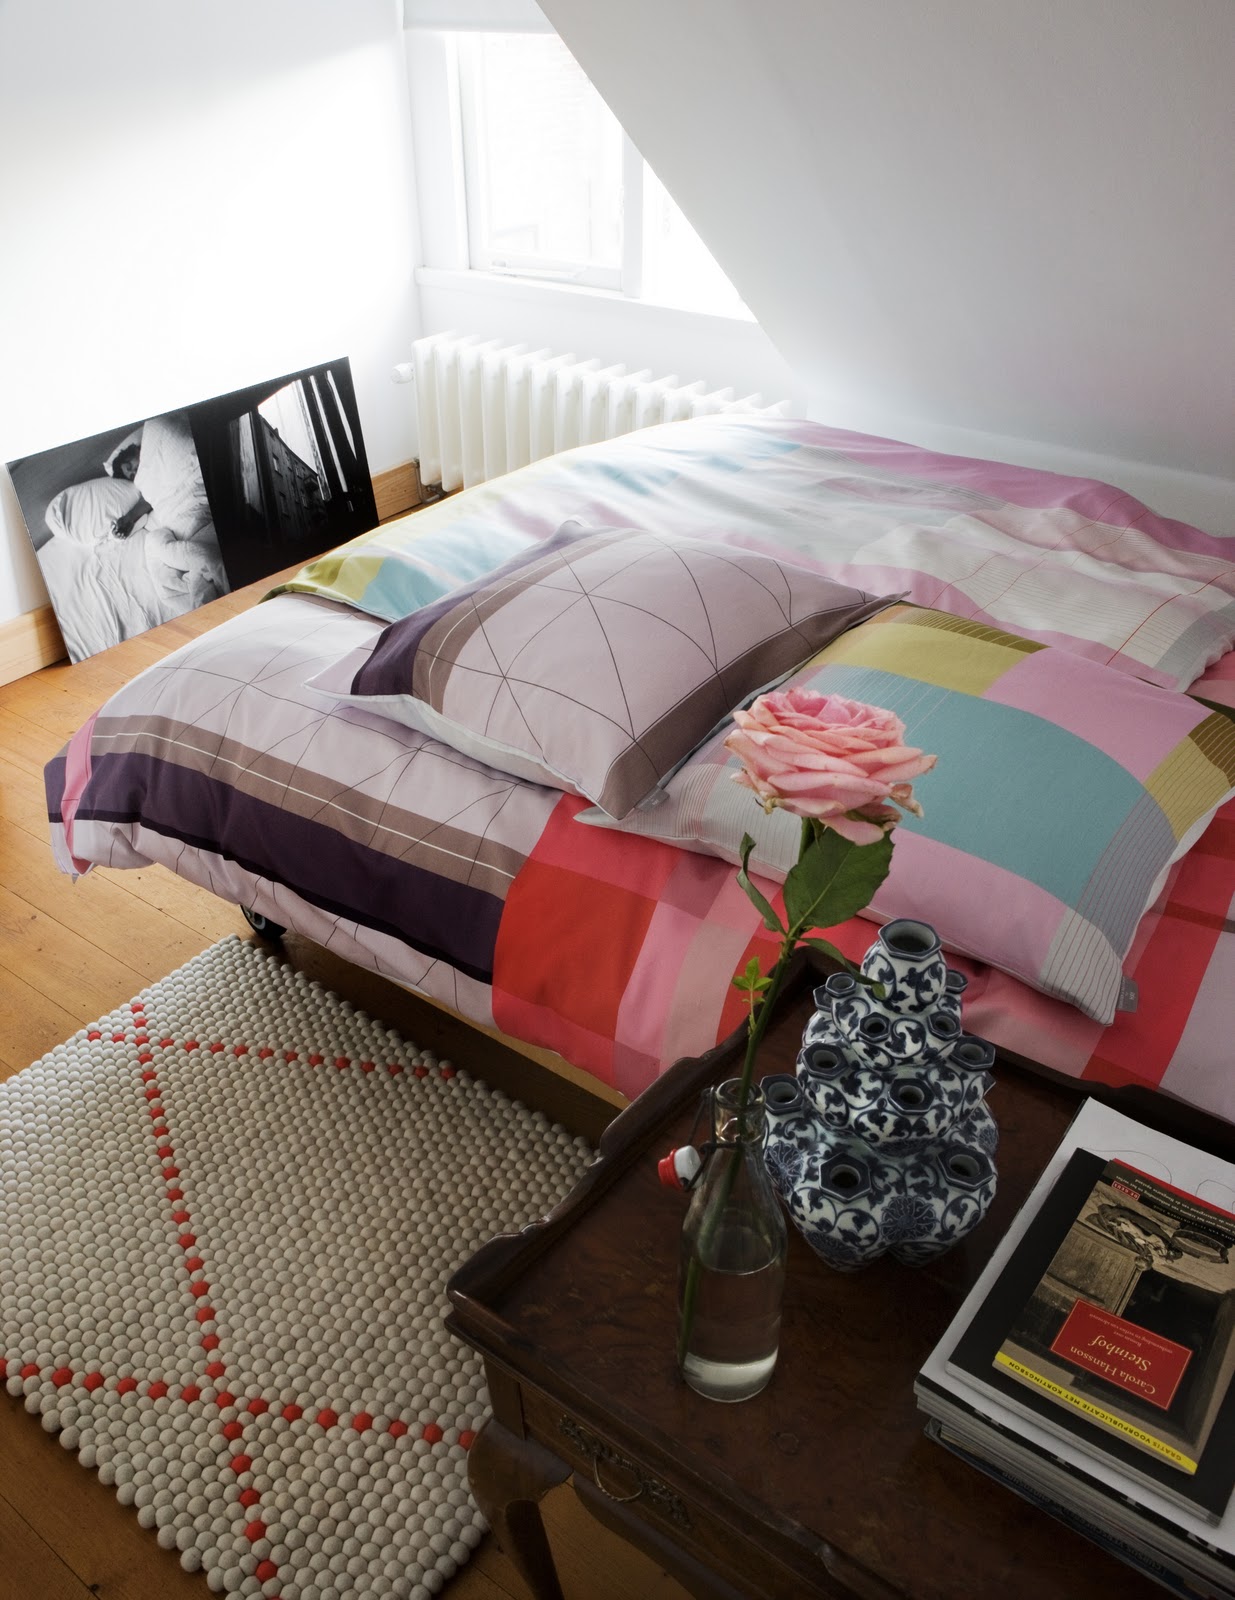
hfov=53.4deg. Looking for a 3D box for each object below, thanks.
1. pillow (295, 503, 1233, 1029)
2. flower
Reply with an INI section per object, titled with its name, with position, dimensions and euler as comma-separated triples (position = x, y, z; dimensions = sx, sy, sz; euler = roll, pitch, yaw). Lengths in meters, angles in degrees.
[pillow]
position = 0.141, -0.084, 1.374
dimensions = 0.864, 0.134, 0.520
euler = 22, 45, 27
[flower]
position = 0.104, 0.102, 0.722
dimensions = 0.145, 0.316, 0.124
euler = 2, 24, -13
